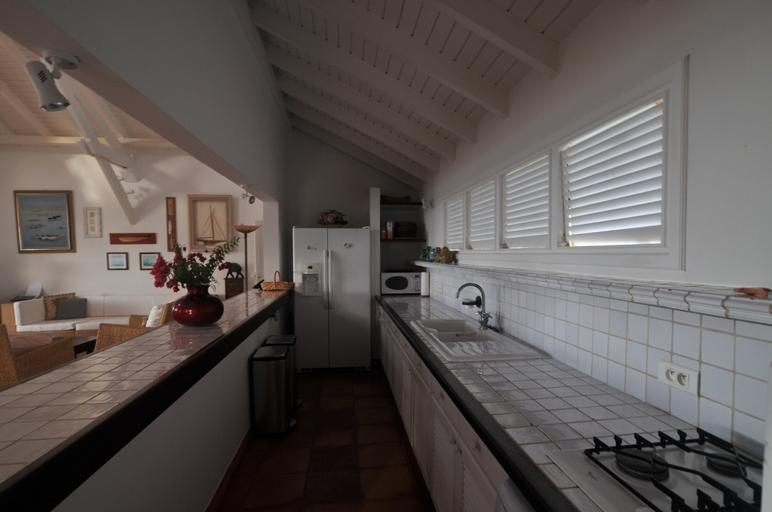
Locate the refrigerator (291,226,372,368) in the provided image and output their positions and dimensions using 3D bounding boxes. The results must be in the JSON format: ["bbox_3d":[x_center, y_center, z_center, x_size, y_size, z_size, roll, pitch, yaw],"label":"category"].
[{"bbox_3d":[-0.669,0.522,5.891,0.902,1.643,0.517,0,15,-11],"label":"refrigerator"}]

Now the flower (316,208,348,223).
[{"bbox_3d":[-0.700,-0.477,6.164,0.292,0.200,0.217,16,19,41],"label":"flower"}]

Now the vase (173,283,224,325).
[{"bbox_3d":[-1.382,0.329,3.541,0.382,0.341,0.374,1,5,-10],"label":"vase"}]

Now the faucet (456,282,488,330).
[{"bbox_3d":[0.683,0.399,3.809,0.266,0.374,0.158,1,-5,3],"label":"faucet"}]

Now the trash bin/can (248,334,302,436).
[{"bbox_3d":[-1.036,1.197,4.436,0.395,0.777,0.580,1,15,-7],"label":"trash bin/can"}]

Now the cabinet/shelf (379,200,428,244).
[{"bbox_3d":[0.290,-0.496,6.530,0.661,0.518,0.361,1,6,12],"label":"cabinet/shelf"}]

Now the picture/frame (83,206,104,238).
[{"bbox_3d":[-4.356,-0.495,7.130,0.250,0.432,0.174,-2,15,-17],"label":"picture/frame"}]

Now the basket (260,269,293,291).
[{"bbox_3d":[-1.312,0.306,5.686,0.368,0.245,0.221,1,-7,-14],"label":"basket"}]

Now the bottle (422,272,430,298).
[{"bbox_3d":[0.470,0.341,5.791,0.103,0.269,0.165,2,15,-2],"label":"bottle"}]

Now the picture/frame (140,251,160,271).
[{"bbox_3d":[-3.131,0.050,6.306,0.302,0.290,0.023,-1,3,-16],"label":"picture/frame"}]

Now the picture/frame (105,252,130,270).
[{"bbox_3d":[-4.038,0.073,7.156,0.279,0.261,0.022,0,1,-14],"label":"picture/frame"}]

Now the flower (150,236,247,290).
[{"bbox_3d":[-1.325,0.109,3.441,0.414,0.276,0.547,3,8,-40],"label":"flower"}]

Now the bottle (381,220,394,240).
[{"bbox_3d":[0.036,-0.337,6.464,0.240,0.332,0.203,0,3,4],"label":"bottle"}]

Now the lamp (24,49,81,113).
[{"bbox_3d":[-1.989,-1.061,2.884,0.257,0.313,0.185,-14,12,-34],"label":"lamp"}]
